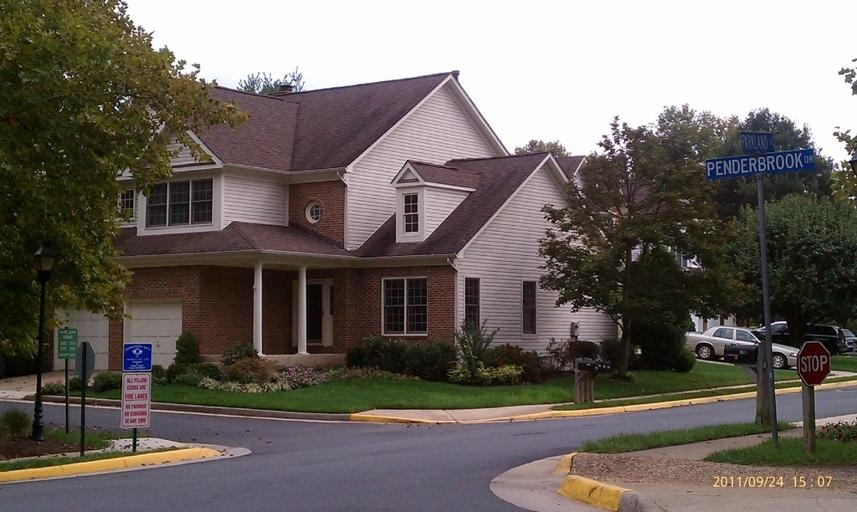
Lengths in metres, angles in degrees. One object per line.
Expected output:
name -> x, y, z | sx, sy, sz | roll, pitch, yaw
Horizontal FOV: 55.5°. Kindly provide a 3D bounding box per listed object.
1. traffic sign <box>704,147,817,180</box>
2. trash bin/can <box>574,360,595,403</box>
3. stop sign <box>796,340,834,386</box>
traffic sign -> 7.525, -2.110, 18.400 | 2.219, 0.764, 1.385 | -6, -11, 27
trash bin/can -> 5.810, 4.589, 29.900 | 0.903, 1.410, 0.538 | 7, -19, -37
stop sign -> 8.036, 2.242, 17.003 | 0.720, 0.910, 0.405 | -1, -10, 1
